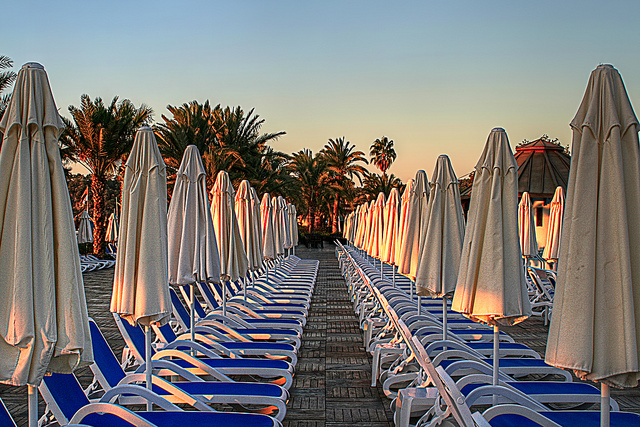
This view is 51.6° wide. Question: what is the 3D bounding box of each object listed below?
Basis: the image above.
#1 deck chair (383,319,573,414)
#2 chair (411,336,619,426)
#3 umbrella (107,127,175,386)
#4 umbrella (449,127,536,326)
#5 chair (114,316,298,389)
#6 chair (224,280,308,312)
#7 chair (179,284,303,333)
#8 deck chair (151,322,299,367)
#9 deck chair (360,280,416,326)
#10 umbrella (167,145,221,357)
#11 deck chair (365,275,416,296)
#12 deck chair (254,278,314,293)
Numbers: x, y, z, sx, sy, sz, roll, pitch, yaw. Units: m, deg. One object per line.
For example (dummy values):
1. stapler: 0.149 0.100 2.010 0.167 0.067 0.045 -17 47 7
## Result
1. deck chair: 2.333 2.240 9.859 2.478 1.082 1.374 -3 -1 -5
2. chair: 2.645 2.378 9.135 2.516 1.040 1.381 -2 -4 -7
3. umbrella: -2.397 0.597 8.864 0.768 3.463 0.935 -2 0 -15
4. umbrella: 2.259 0.166 8.710 0.916 2.310 0.475 -2 0 16
5. chair: -1.682 2.280 10.128 2.871 1.332 1.243 1 -2 -3
6. chair: -1.260 1.691 13.845 1.641 0.799 0.532 0 -9 -2
7. chair: -1.224 1.515 12.637 1.968 0.965 0.674 6 7 8
8. deck chair: -1.544 2.117 10.807 2.058 0.838 1.016 1 -2 -2
9. deck chair: 1.531 1.928 14.125 1.083 1.024 1.338 0 1 -3
10. umbrella: -1.993 0.553 10.402 0.761 3.135 0.965 1 0 2
11. deck chair: 1.492 1.524 14.122 0.738 0.207 0.798 1 14 -9
12. deck chair: -0.786 1.757 16.465 0.985 0.234 0.558 0 -1 -12
